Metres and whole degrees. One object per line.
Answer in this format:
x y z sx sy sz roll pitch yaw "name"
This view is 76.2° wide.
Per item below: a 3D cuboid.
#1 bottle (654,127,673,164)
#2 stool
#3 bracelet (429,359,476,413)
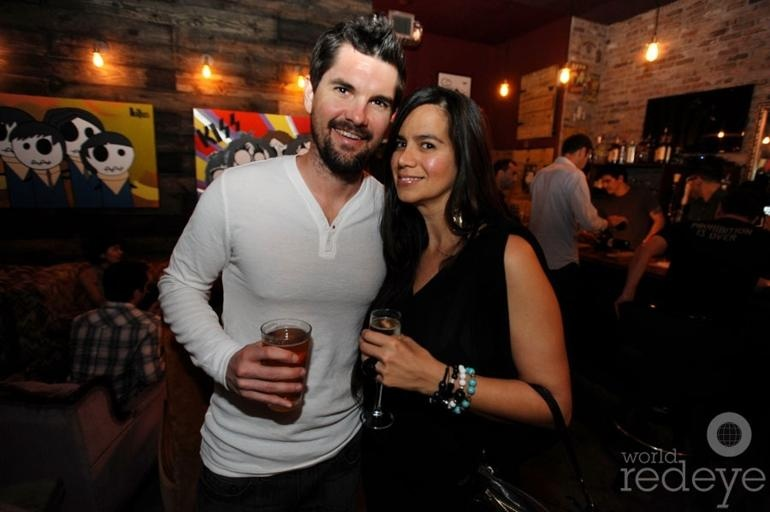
4.043 -1.607 7.129 0.189 0.488 0.332 7 14 11 "bottle"
2.686 1.192 4.790 0.817 1.184 1.097 11 15 28 "stool"
0.449 0.823 3.100 0.253 0.300 0.118 0 -1 2 "bracelet"
